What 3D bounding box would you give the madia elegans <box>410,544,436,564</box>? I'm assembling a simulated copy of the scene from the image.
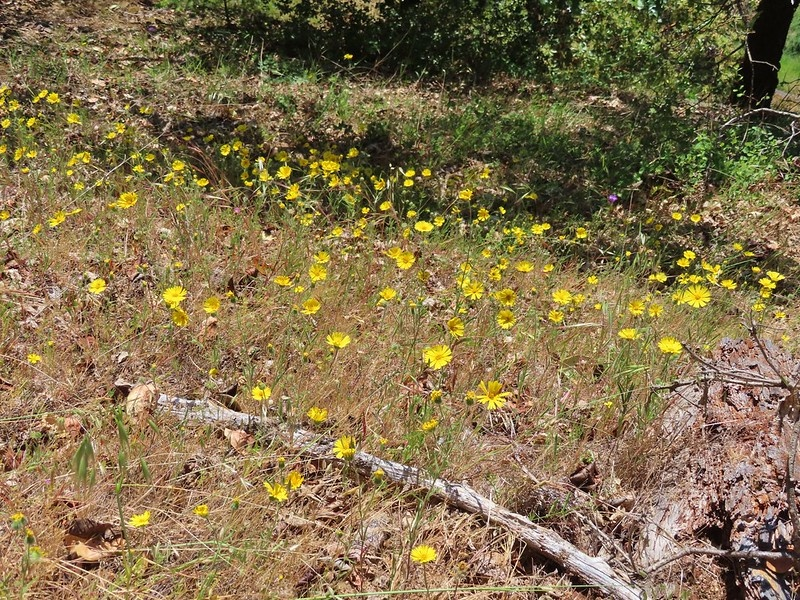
[{"bbox_3d":[0.132,1.504,5.821,0.115,0.060,0.132,-4,16,10],"label":"madia elegans"}]
